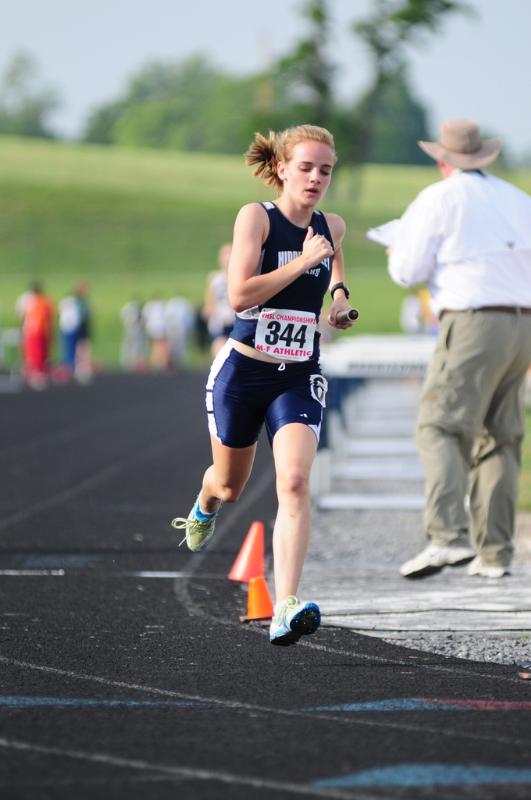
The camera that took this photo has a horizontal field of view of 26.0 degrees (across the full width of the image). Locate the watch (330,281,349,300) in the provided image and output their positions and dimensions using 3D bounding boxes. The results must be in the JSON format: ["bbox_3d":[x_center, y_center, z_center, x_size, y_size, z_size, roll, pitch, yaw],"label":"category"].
[{"bbox_3d":[0.280,-0.401,4.382,0.096,0.075,0.057,-4,27,6],"label":"watch"}]

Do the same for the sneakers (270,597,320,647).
[{"bbox_3d":[0.101,0.706,3.685,0.093,0.221,0.103,18,48,-29],"label":"sneakers"}]

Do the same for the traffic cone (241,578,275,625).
[{"bbox_3d":[-0.038,0.776,4.429,0.170,0.165,0.155,1,-3,-4],"label":"traffic cone"}]

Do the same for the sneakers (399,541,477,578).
[{"bbox_3d":[0.719,0.687,4.898,0.353,0.135,0.114,-16,12,27],"label":"sneakers"}]

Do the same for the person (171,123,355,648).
[{"bbox_3d":[0.014,-0.032,4.129,0.722,1.835,1.484,-5,16,-5],"label":"person"}]
